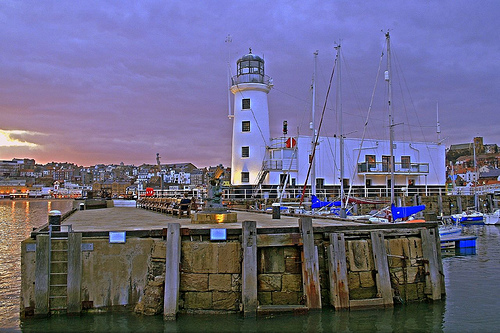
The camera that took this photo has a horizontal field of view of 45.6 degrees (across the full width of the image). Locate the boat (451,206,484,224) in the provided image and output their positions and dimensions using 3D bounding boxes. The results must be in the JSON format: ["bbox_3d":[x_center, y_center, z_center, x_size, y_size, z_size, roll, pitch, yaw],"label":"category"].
[{"bbox_3d":[23.534,5.261,64.398,2.991,1.417,1.432,-2,0,-10],"label":"boat"}]

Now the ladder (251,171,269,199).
[{"bbox_3d":[1.127,2.066,64.643,1.410,3.148,0.423,38,-19,-22],"label":"ladder"}]

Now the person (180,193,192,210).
[{"bbox_3d":[-4.735,2.585,43.946,0.934,1.617,0.981,0,5,-9],"label":"person"}]

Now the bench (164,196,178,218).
[{"bbox_3d":[-6.027,2.741,43.530,0.807,1.183,0.775,-6,-9,40],"label":"bench"}]

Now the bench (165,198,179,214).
[{"bbox_3d":[-5.926,2.705,43.104,0.891,1.247,1.006,-3,-8,22],"label":"bench"}]

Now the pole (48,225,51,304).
[{"bbox_3d":[-10.419,5.095,30.812,0.163,3.863,0.565,-1,5,-16],"label":"pole"}]

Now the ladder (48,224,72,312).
[{"bbox_3d":[-9.914,5.257,30.842,1.128,4.363,0.912,-1,5,-13],"label":"ladder"}]

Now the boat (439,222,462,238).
[{"bbox_3d":[16.185,5.016,47.197,1.038,0.799,3.358,1,5,43],"label":"boat"}]

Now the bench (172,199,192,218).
[{"bbox_3d":[-4.888,2.786,40.517,1.080,1.488,1.211,1,0,-35],"label":"bench"}]
